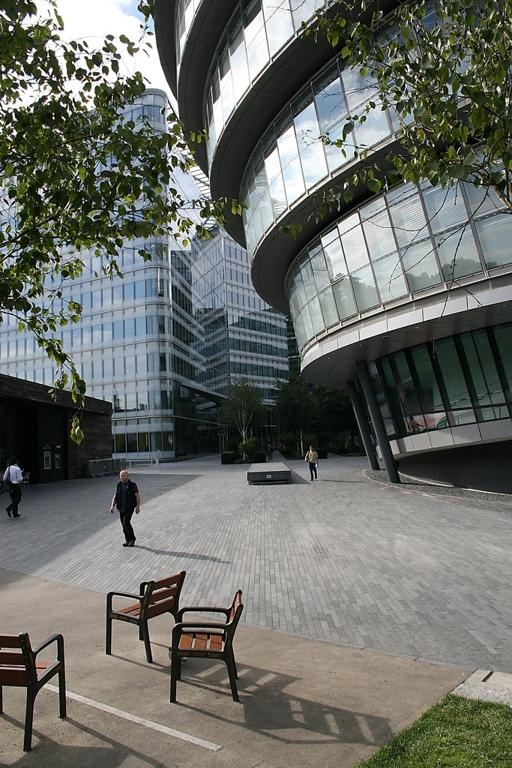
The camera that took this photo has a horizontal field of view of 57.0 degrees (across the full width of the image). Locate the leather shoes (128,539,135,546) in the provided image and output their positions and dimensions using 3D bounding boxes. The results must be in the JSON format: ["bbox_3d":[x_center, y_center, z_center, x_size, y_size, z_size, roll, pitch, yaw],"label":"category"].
[{"bbox_3d":[-2.747,3.557,10.830,0.160,0.152,0.424,-5,-8,-15],"label":"leather shoes"}]
